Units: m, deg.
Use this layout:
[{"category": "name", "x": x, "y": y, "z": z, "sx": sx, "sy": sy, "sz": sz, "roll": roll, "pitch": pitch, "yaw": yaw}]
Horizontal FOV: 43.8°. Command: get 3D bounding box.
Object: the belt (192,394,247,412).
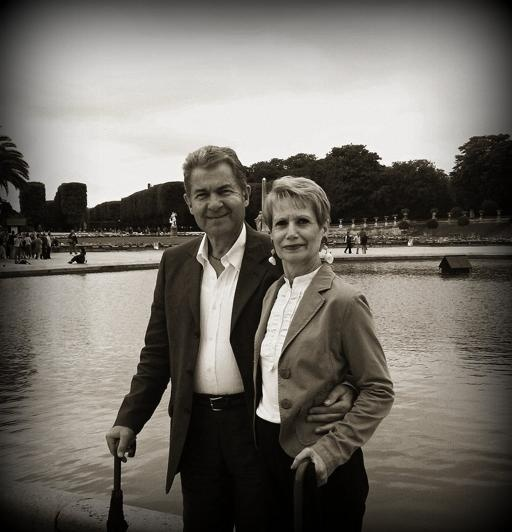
[{"category": "belt", "x": -0.154, "y": 0.555, "z": 2.571, "sx": 0.215, "sy": 0.071, "sz": 0.041, "roll": 0, "pitch": 2, "yaw": 13}]
